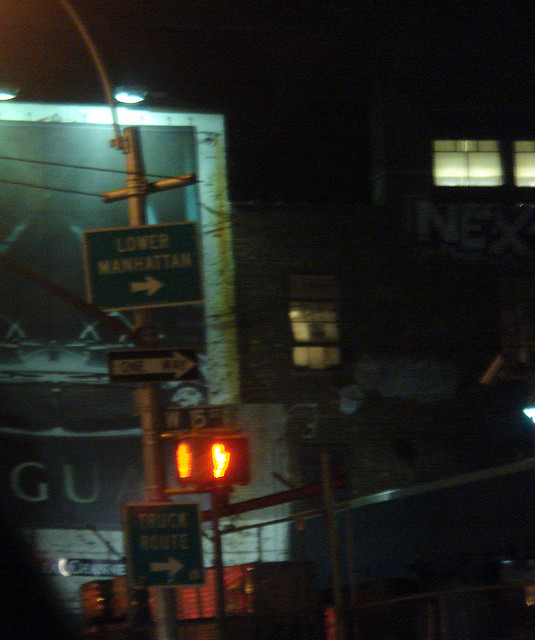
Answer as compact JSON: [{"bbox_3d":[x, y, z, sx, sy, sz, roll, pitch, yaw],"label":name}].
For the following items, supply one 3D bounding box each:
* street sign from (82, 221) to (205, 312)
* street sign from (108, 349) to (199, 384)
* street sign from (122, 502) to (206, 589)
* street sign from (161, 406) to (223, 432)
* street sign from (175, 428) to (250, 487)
[{"bbox_3d":[-1.508,-0.635,13.960,0.192,0.982,1.881,7,11,39],"label":"street sign"},{"bbox_3d":[-1.349,0.521,13.973,1.608,0.404,0.059,-1,0,1],"label":"street sign"},{"bbox_3d":[-1.204,2.582,13.820,0.899,0.974,0.192,-5,-1,-5],"label":"street sign"},{"bbox_3d":[-0.910,1.176,14.463,0.216,0.309,0.990,-6,-2,32],"label":"street sign"},{"bbox_3d":[-0.675,1.754,15.018,0.874,0.486,0.719,1,-9,-16],"label":"street sign"}]
